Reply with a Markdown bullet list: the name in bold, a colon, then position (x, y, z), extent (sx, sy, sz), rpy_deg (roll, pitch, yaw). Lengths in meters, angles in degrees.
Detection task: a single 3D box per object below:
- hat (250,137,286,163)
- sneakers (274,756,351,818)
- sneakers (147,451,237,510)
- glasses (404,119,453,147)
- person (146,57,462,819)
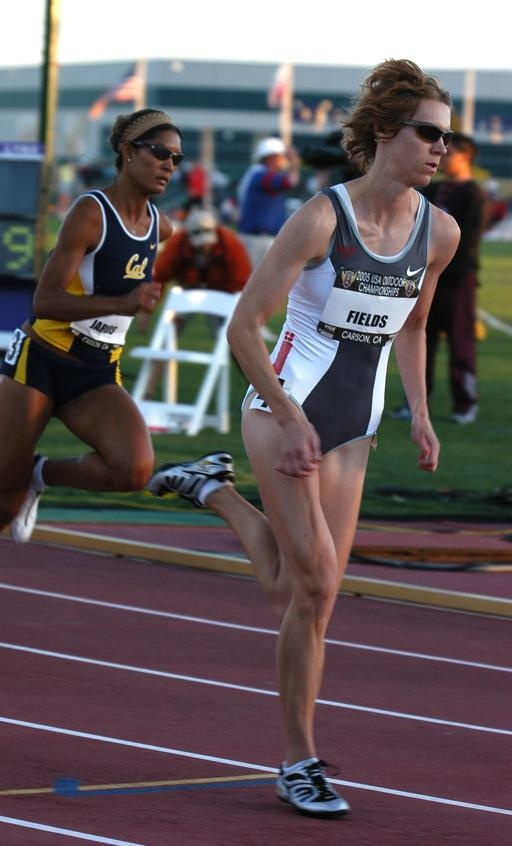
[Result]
- **hat**: position (0.153, -2.996, 9.443), extent (0.381, 0.205, 0.255), rpy_deg (-4, 15, -19)
- **sneakers**: position (0.108, 0.722, 1.730), extent (0.079, 0.073, 0.173), rpy_deg (4, 0, -42)
- **sneakers**: position (-0.202, 0.189, 2.815), extent (0.134, 0.158, 0.368), rpy_deg (7, -12, -44)
- **glasses**: position (0.373, -0.612, 1.814), extent (0.068, 0.022, 0.068), rpy_deg (17, 6, -36)
- **person**: position (0.203, 0.002, 2.084), extent (0.561, 1.642, 0.877), rpy_deg (6, 1, -1)
